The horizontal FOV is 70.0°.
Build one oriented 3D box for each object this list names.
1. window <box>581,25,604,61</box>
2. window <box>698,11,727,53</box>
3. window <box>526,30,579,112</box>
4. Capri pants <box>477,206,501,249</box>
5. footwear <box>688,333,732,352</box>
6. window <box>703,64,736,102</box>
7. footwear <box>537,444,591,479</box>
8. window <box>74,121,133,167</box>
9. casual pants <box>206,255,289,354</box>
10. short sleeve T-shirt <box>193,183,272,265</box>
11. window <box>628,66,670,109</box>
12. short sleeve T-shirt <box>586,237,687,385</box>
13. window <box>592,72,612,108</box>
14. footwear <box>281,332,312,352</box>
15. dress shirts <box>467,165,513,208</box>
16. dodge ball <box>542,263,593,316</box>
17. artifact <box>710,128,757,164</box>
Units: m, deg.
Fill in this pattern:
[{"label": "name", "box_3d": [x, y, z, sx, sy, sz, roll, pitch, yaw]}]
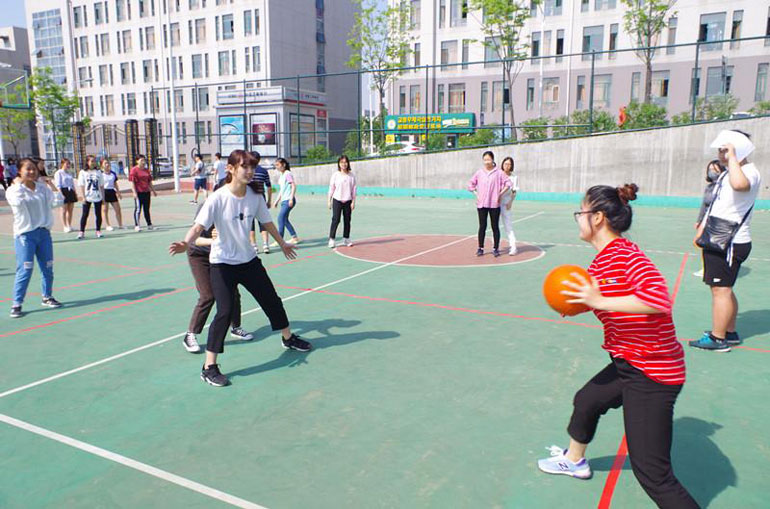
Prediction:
[{"label": "window", "box_3d": [15.522, -16.130, 41.187, 1.562, 1.694, 0.372, 3, 14, 28]}, {"label": "window", "box_3d": [22.288, -15.547, 37.608, 1.693, 1.754, 0.369, -3, 12, 1]}, {"label": "window", "box_3d": [12.005, -13.487, 40.446, 3.022, 6.409, 6.674, 0, 12, 15]}, {"label": "Capri pants", "box_3d": [2.296, -0.787, 12.318, 0.492, 1.463, 0.322, -3, -9, 13]}, {"label": "footwear", "box_3d": [4.309, 1.164, 7.377, 0.535, 0.233, 0.222, 2, 3, 35]}, {"label": "window", "box_3d": [20.402, -10.156, 33.584, 1.492, 2.580, 0.221, 3, -5, 20]}, {"label": "footwear", "box_3d": [1.653, 1.955, 5.283, 0.584, 0.251, 0.207, 4, -1, 18]}, {"label": "window", "box_3d": [-21.720, -8.245, 42.855, 5.664, 3.795, 0.345, 2, 10, 15]}, {"label": "casual pants", "box_3d": [-1.846, 0.716, 7.252, 1.071, 1.289, 0.447, -15, -8, -43]}, {"label": "short sleeve T-shirt", "box_3d": [-1.845, -0.361, 6.703, 1.013, 0.907, 0.409, -9, 19, -40]}, {"label": "window", "box_3d": [18.697, -11.738, 38.839, 0.960, 2.460, 2.629, -12, 15, -34]}, {"label": "short sleeve T-shirt", "box_3d": [2.066, 0.470, 4.543, 0.755, 1.177, 0.310, 1, 13, 19]}, {"label": "window", "box_3d": [16.046, -12.239, 41.127, 1.389, 2.294, 1.384, 10, 34, 36]}, {"label": "footwear", "box_3d": [-1.186, 1.169, 7.371, 0.391, 0.165, 0.194, 3, 6, 9]}, {"label": "dress shirts", "box_3d": [2.267, -1.445, 11.942, 0.890, 0.893, 0.328, -1, 12, 9]}, {"label": "dodge ball", "box_3d": [1.504, 0.296, 4.596, 0.391, 0.429, 0.386, -1, 8, 0]}, {"label": "artifact", "box_3d": [4.291, -1.331, 6.827, 0.403, 0.394, 0.466, 4, 13, 29]}]
